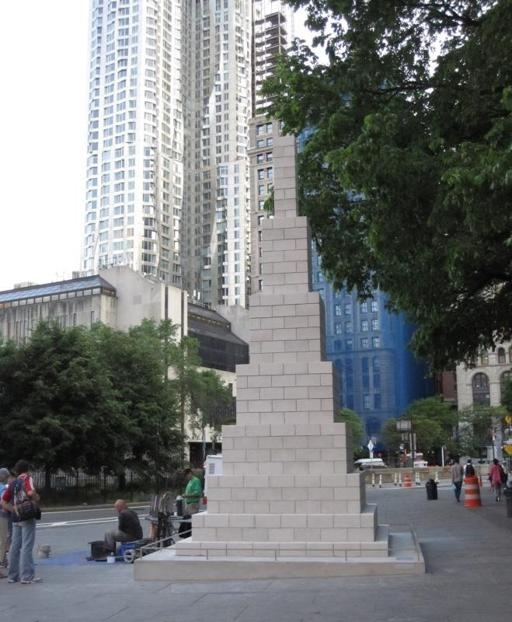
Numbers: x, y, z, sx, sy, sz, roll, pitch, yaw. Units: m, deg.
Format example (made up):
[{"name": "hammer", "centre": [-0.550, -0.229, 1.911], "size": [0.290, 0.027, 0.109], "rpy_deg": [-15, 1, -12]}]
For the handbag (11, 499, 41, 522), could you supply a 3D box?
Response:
[{"name": "handbag", "centre": [-3.718, 3.235, 15.415], "size": [0.402, 0.368, 0.387], "rpy_deg": [-5, 10, -10]}]

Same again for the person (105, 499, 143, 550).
[{"name": "person", "centre": [-2.597, 4.216, 18.736], "size": [0.754, 0.971, 0.692], "rpy_deg": [-4, -10, 11]}]
